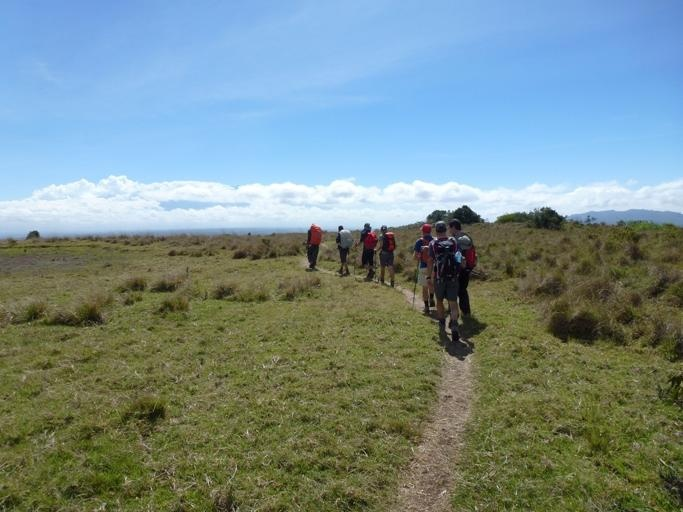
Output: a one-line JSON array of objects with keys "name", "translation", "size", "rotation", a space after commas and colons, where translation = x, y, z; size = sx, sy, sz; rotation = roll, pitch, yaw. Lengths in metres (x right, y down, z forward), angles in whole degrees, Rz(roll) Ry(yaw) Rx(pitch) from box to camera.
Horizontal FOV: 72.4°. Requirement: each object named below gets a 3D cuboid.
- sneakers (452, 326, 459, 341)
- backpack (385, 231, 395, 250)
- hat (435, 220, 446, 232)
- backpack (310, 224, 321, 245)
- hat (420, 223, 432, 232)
[{"name": "sneakers", "translation": [2.853, 1.938, 11.627], "size": [0.203, 0.318, 0.353], "rotation": [2, 5, 15]}, {"name": "backpack", "translation": [1.868, -0.510, 17.674], "size": [0.245, 0.739, 0.941], "rotation": [2, 5, 14]}, {"name": "hat", "translation": [2.506, -0.757, 11.741], "size": [0.212, 0.246, 0.298], "rotation": [-1, -7, 13]}, {"name": "backpack", "translation": [-1.178, -0.944, 21.069], "size": [0.463, 0.887, 1.185], "rotation": [0, 5, -6]}, {"name": "hat", "translation": [2.565, -0.806, 14.003], "size": [0.309, 0.244, 0.442], "rotation": [2, 15, 7]}]
